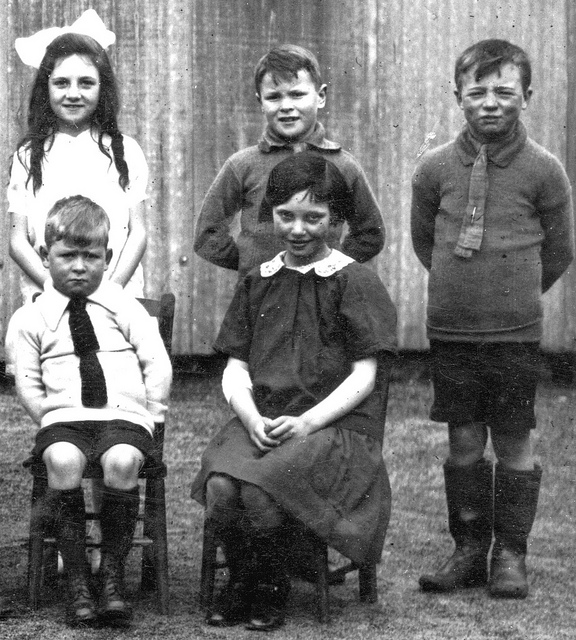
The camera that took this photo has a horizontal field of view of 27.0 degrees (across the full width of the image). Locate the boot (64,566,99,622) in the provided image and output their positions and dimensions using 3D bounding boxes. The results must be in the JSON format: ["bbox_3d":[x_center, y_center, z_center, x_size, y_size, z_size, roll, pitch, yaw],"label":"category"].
[{"bbox_3d":[-0.489,0.651,2.848,0.075,0.073,0.195,-3,8,-11],"label":"boot"}]

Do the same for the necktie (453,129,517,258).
[{"bbox_3d":[0.469,-0.298,2.851,0.121,0.304,0.049,4,6,6],"label":"necktie"}]

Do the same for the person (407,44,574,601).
[{"bbox_3d":[0.469,0.008,2.879,0.421,1.311,0.207,4,6,4],"label":"person"}]

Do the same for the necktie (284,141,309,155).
[{"bbox_3d":[0.022,-0.438,3.035,0.048,0.013,0.040,-9,34,13],"label":"necktie"}]

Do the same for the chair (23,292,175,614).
[{"bbox_3d":[-0.471,0.305,3.000,0.353,0.740,0.466,3,6,-10],"label":"chair"}]

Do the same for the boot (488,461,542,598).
[{"bbox_3d":[0.541,0.505,2.893,0.103,0.310,0.109,5,6,9],"label":"boot"}]

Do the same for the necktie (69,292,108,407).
[{"bbox_3d":[-0.502,0.071,2.992,0.089,0.307,0.040,16,33,39],"label":"necktie"}]

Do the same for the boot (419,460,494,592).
[{"bbox_3d":[0.421,0.493,2.894,0.151,0.312,0.118,4,6,8],"label":"boot"}]

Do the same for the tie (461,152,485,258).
[{"bbox_3d":[0.446,-0.271,2.850,0.061,0.243,0.025,7,7,24],"label":"tie"}]

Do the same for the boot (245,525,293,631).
[{"bbox_3d":[-0.045,0.594,2.779,0.101,0.231,0.102,4,6,-1],"label":"boot"}]

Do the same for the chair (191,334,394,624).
[{"bbox_3d":[0.004,0.359,2.875,0.476,0.658,0.275,4,6,3],"label":"chair"}]

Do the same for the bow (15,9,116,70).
[{"bbox_3d":[-0.565,-0.713,3.043,0.252,0.152,0.022,2,6,-3],"label":"bow"}]
